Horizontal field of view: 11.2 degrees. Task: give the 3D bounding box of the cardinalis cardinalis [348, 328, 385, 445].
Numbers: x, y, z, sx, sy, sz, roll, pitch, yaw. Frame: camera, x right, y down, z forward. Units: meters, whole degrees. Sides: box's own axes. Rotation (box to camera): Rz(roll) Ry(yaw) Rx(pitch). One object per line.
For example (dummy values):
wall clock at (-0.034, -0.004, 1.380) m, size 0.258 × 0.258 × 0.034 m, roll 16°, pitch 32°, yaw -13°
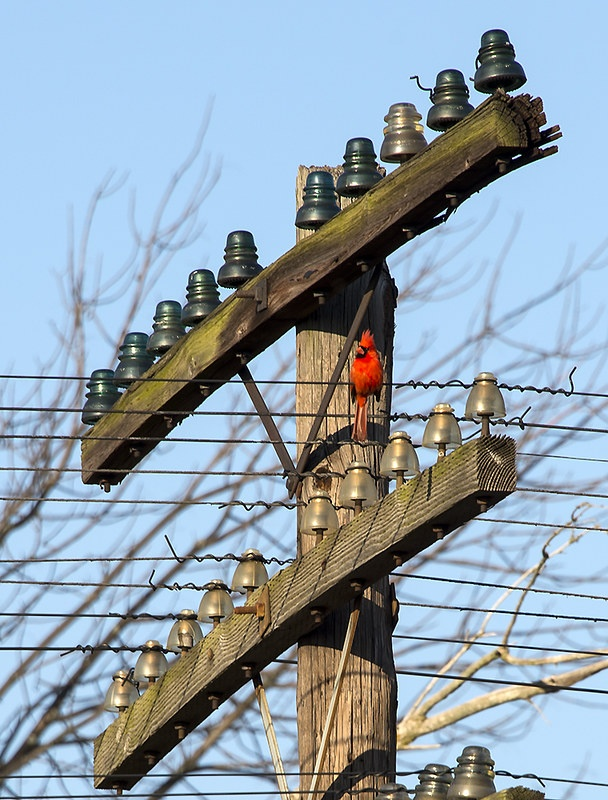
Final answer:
cardinalis cardinalis at (0.366, -0.097, 18.781) m, size 0.142 × 0.267 × 0.704 m, roll 1°, pitch -89°, yaw 5°
